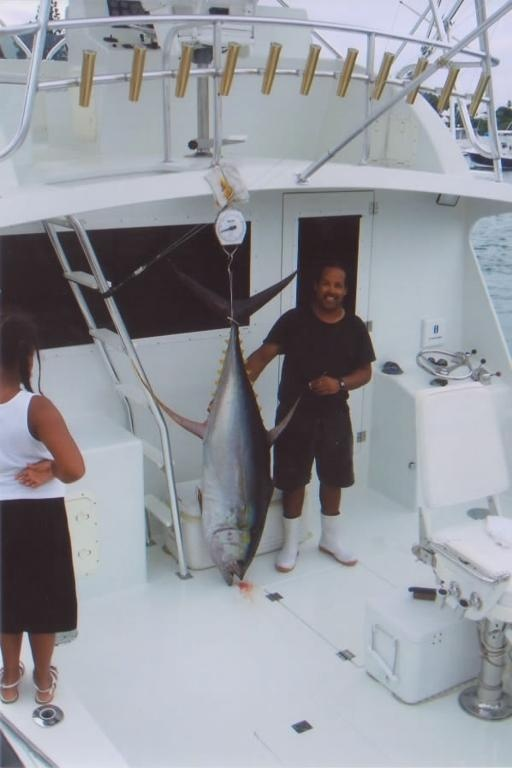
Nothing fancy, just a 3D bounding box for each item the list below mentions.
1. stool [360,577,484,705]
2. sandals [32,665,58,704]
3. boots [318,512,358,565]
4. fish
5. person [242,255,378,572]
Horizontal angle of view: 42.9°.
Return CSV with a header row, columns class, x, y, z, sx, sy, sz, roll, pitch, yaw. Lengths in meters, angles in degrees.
class,x,y,z,sx,sy,sz,roll,pitch,yaw
stool,0.532,0.849,2.255,0.487,0.313,0.353,-5,12,-32
sandals,-0.595,0.825,1.813,0.045,0.034,0.112,2,33,-11
boots,0.392,0.722,3.094,0.092,0.209,0.238,-12,12,-41
fish,-0.104,0.198,2.618,0.641,1.245,0.418,1,-5,20
person,0.236,0.168,3.166,0.536,1.513,0.487,-1,7,-8
